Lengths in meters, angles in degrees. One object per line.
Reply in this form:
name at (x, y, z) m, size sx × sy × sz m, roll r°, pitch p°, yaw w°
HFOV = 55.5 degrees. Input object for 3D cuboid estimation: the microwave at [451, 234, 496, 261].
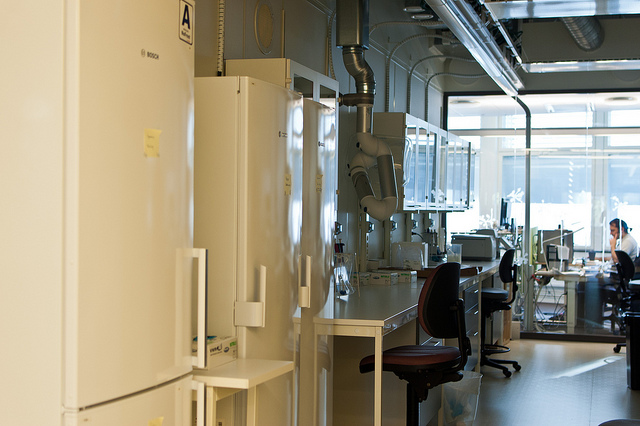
microwave at (1.951, 0.424, 7.551) m, size 0.378 × 0.257 × 0.400 m, roll 0°, pitch 0°, yaw 29°

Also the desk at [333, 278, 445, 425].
desk at (0.498, 1.128, 4.514) m, size 0.828 × 1.164 × 1.485 m, roll -1°, pitch -5°, yaw 11°

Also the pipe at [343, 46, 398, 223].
pipe at (0.431, -0.606, 5.096) m, size 0.406 × 1.313 × 0.902 m, roll -1°, pitch -4°, yaw 7°

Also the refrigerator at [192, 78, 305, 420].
refrigerator at (-0.353, 0.058, 3.356) m, size 0.274 × 1.537 × 0.694 m, roll -4°, pitch -5°, yaw 43°

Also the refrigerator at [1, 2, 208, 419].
refrigerator at (-0.873, -0.034, 2.530) m, size 0.818 × 1.859 × 0.370 m, roll 1°, pitch -4°, yaw -17°

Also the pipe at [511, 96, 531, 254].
pipe at (2.892, -0.407, 8.580) m, size 0.458 × 2.416 × 0.079 m, roll -8°, pitch 7°, yaw -38°

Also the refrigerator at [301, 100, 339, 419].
refrigerator at (-0.002, 0.319, 3.845) m, size 0.159 × 2.028 × 0.616 m, roll -1°, pitch -4°, yaw 16°

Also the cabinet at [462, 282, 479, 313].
cabinet at (1.474, 0.803, 5.921) m, size 0.198 × 0.276 × 0.384 m, roll -3°, pitch -2°, yaw 19°
